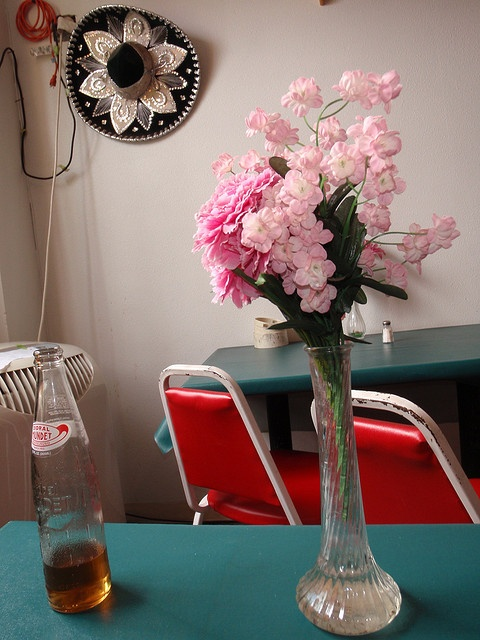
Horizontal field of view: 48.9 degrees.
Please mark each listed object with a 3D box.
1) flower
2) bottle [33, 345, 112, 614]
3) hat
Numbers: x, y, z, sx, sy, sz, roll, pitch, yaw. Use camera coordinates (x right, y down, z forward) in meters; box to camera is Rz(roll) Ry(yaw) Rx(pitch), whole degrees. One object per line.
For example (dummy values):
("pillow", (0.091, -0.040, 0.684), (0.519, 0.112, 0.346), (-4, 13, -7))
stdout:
("flower", (0.087, -0.065, 0.471), (0.184, 0.223, 0.198), (3, -13, -25))
("bottle", (-0.162, 0.147, 0.489), (0.055, 0.244, 0.051), (-5, 7, 1))
("hat", (-0.448, -0.976, 2.083), (0.541, 0.505, 0.257), (-2, 7, 22))
